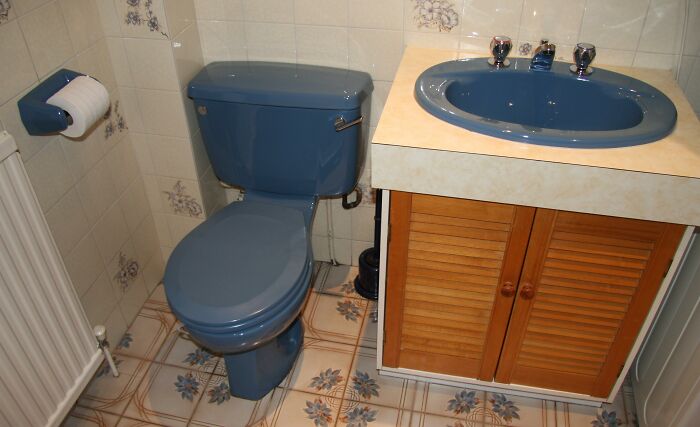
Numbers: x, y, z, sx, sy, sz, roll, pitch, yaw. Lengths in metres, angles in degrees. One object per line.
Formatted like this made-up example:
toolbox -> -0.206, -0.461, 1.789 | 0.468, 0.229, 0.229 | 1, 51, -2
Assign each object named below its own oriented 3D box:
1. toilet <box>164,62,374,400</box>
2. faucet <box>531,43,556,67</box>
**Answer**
toilet -> -0.347, 0.059, 1.975 | 0.782, 1.059, 1.014 | 9, 46, 5
faucet -> 0.693, -0.562, 1.783 | 0.091, 0.093, 0.062 | 9, 56, 10
